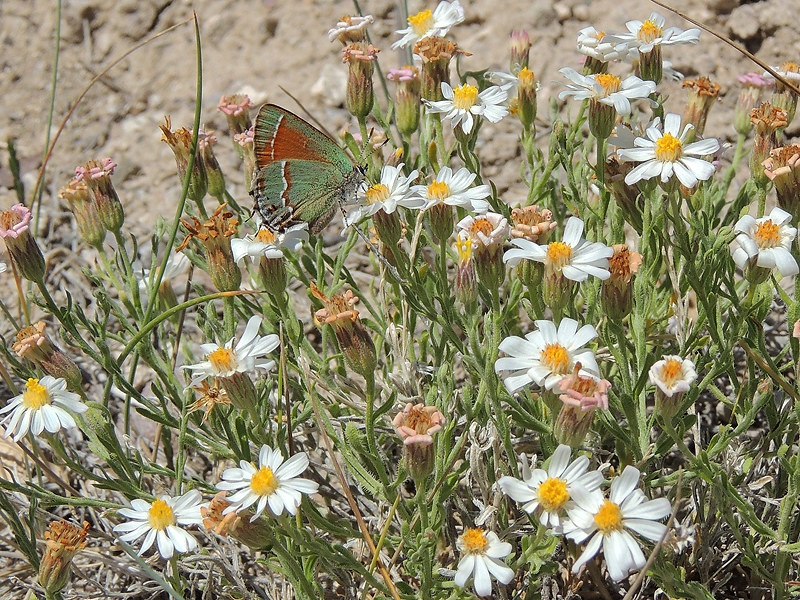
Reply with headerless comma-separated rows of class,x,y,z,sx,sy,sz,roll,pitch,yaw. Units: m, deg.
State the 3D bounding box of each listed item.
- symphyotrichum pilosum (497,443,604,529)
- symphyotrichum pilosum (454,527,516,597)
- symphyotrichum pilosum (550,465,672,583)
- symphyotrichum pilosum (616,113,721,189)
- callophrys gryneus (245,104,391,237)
symphyotrichum pilosum,0.489,0.602,3.066,0.203,0.376,0.181,2,13,5
symphyotrichum pilosum,0.261,0.848,3.139,0.151,0.264,0.203,-2,14,-34
symphyotrichum pilosum,0.683,0.716,2.989,0.354,0.180,0.267,-19,49,-4
symphyotrichum pilosum,0.963,-0.478,3.326,0.279,0.117,0.307,-33,65,4
callophrys gryneus,-0.332,-0.518,3.772,0.479,0.601,0.407,-8,19,-22
